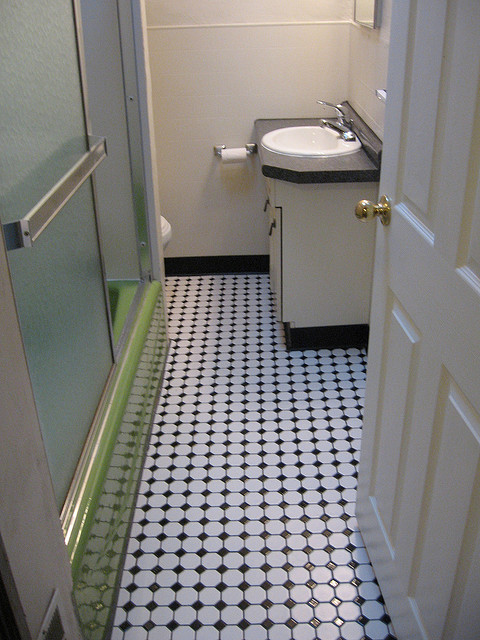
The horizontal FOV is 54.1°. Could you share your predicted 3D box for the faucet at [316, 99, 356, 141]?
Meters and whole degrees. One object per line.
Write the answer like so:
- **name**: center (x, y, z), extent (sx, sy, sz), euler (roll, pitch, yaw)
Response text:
- **faucet**: center (0.494, -1.012, 2.367), extent (0.137, 0.147, 0.449), euler (-1, 38, 3)
